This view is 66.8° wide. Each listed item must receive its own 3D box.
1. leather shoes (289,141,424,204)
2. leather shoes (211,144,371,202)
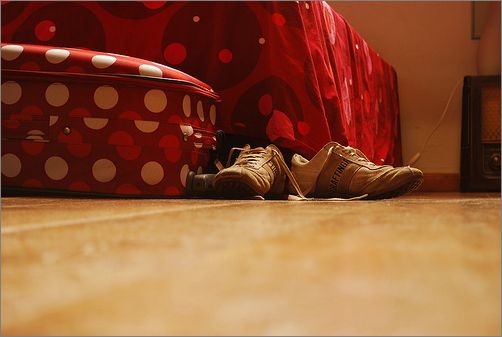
[{"bbox_3d":[0.235,0.020,0.884,0.277,0.129,0.126,-3,-16,16],"label":"leather shoes"},{"bbox_3d":[0.014,0.012,0.821,0.189,0.124,0.161,1,3,-8],"label":"leather shoes"}]
